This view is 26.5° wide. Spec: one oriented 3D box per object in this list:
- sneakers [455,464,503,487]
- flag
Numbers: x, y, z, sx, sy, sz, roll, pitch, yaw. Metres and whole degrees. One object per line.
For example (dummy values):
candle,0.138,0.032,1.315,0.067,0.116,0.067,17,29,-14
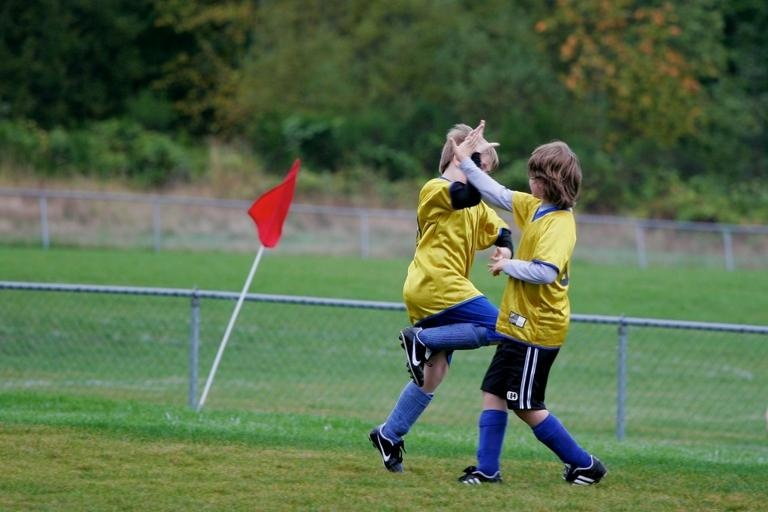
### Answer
sneakers,1.156,2.741,20.116,0.443,0.174,0.223,4,-4,-5
flag,-1.504,-0.705,21.362,0.590,1.187,0.250,28,-6,-25
